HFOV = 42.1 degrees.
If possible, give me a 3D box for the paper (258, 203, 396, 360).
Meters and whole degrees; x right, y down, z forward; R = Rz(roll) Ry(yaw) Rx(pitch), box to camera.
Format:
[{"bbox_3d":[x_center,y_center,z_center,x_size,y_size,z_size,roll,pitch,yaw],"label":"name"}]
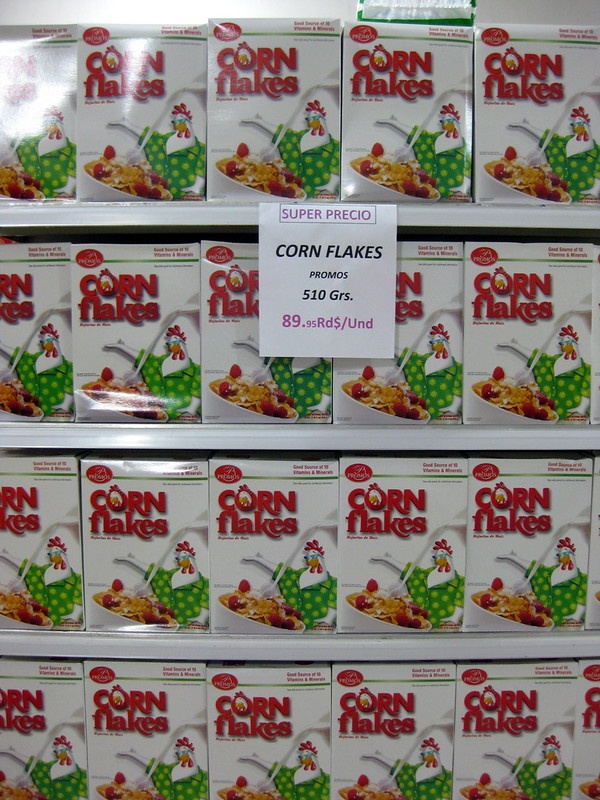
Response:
[{"bbox_3d":[0.049,-0.231,1.457,0.324,0.306,0.036,0,10,1],"label":"paper"}]
